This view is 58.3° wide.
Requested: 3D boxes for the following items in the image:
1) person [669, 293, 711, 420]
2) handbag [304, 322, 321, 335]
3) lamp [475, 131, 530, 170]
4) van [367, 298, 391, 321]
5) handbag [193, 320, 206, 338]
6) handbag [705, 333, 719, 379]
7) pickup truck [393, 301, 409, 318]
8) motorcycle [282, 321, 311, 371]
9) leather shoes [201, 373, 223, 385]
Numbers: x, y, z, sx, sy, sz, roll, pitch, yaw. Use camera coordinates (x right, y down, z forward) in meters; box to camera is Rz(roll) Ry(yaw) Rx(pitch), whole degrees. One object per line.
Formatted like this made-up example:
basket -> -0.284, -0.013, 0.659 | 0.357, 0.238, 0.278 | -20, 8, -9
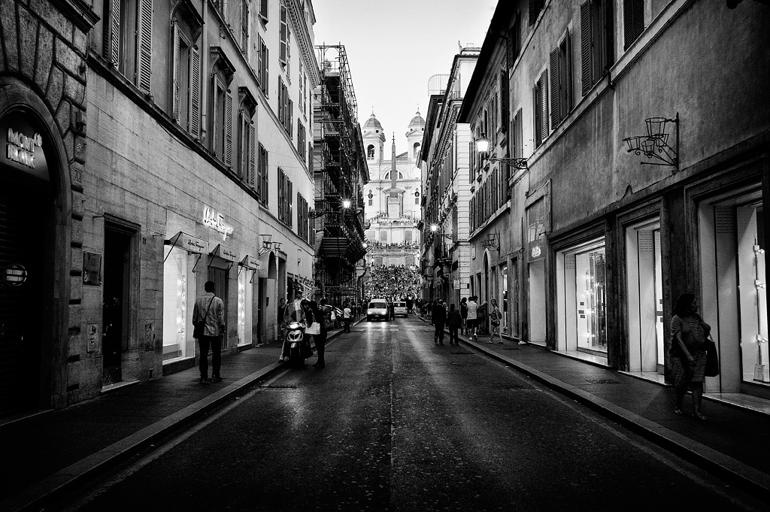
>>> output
person -> 5.625, 1.788, 12.702 | 0.660, 2.190, 0.872 | 1, 2, 28
handbag -> -2.260, 2.272, 21.797 | 0.347, 0.270, 0.385 | 0, -2, 20
lamp -> 4.913, -4.269, 28.491 | 2.575, 1.683, 0.561 | -5, -3, -30
van -> -0.634, 5.042, 64.462 | 1.977, 1.788, 3.036 | 0, 1, 3
handbag -> -4.511, 1.735, 16.670 | 0.356, 0.426, 0.118 | 1, 2, 24
handbag -> 5.965, 1.839, 12.580 | 0.199, 0.681, 0.375 | 1, 2, 31
pickup truck -> 1.809, 6.125, 79.851 | 1.427, 1.577, 3.073 | 0, 0, 1
motorcycle -> -2.780, 2.568, 21.924 | 0.614, 1.231, 1.937 | -5, 1, 2
leather shoes -> -4.189, 2.941, 16.643 | 0.596, 0.329, 0.224 | -1, -3, -3
